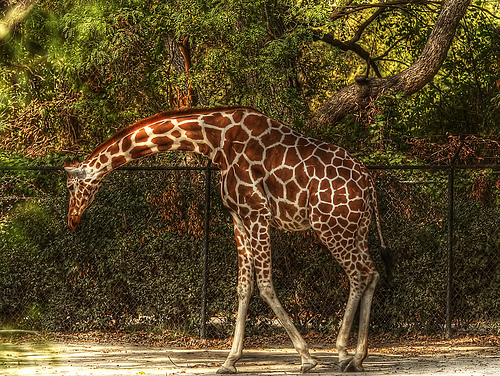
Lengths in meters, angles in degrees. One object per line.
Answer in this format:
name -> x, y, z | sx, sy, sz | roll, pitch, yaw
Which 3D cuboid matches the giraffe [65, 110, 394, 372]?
giraffe -> 0.030, 0.787, 14.339 | 4.220, 3.906, 1.329 | 3, 10, 19
